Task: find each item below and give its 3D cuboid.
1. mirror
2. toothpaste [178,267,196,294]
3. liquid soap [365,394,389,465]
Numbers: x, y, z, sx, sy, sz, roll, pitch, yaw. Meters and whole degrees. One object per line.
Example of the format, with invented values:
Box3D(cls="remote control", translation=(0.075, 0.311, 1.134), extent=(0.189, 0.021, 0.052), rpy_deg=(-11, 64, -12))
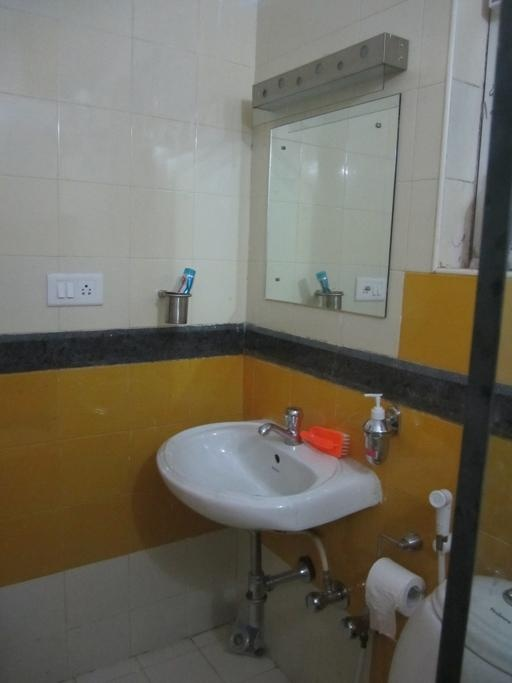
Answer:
Box3D(cls="mirror", translation=(0.216, -0.369, 1.421), extent=(0.007, 0.598, 0.514), rpy_deg=(-3, 9, -25))
Box3D(cls="toothpaste", translation=(-0.213, -0.189, 1.667), extent=(0.044, 0.093, 0.019), rpy_deg=(9, -7, 43))
Box3D(cls="liquid soap", translation=(0.269, 0.200, 1.192), extent=(0.054, 0.156, 0.041), rpy_deg=(5, 11, 15))
